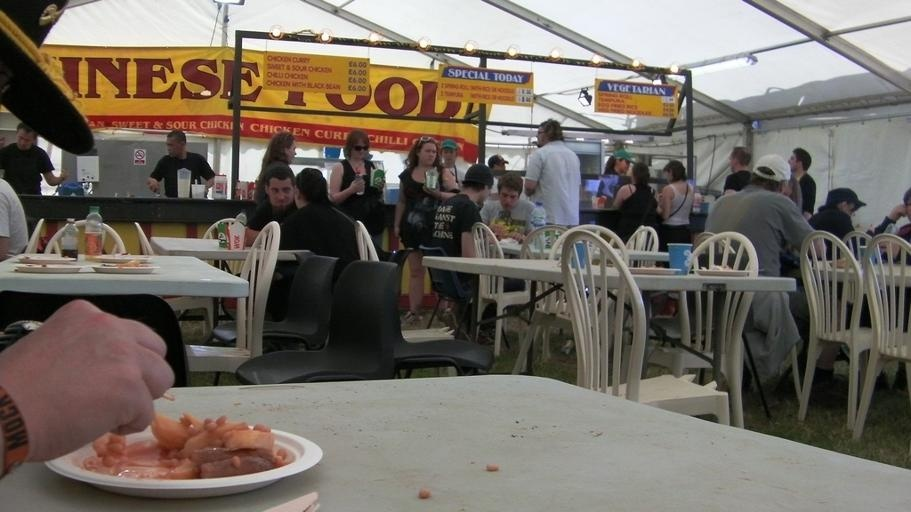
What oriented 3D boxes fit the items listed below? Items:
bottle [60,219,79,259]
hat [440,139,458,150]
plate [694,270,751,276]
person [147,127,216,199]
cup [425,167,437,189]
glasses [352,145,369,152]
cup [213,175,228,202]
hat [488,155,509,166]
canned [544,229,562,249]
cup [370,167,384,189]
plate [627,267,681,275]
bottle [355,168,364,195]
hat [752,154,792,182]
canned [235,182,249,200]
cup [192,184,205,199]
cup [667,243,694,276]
[{"bbox_3d":[-2.513,-0.116,4.923,0.084,0.243,0.385,-1,3,-26],"label":"bottle"},{"bbox_3d":[-0.081,-1.313,8.922,0.143,0.138,0.378,1,2,7],"label":"hat"},{"bbox_3d":[1.752,0.112,4.967,0.311,0.035,0.107,1,2,19],"label":"plate"},{"bbox_3d":[-3.290,-1.100,9.116,0.787,0.810,0.813,-2,3,-41],"label":"person"},{"bbox_3d":[-0.255,-0.792,7.819,0.125,0.211,0.210,0,2,-5],"label":"cup"},{"bbox_3d":[-1.011,-1.158,8.078,0.163,0.070,0.048,-1,3,-40],"label":"glasses"},{"bbox_3d":[-2.713,-0.795,8.703,0.148,0.275,0.276,0,2,-16],"label":"cup"},{"bbox_3d":[0.568,-1.305,10.320,0.169,0.174,0.408,1,2,9],"label":"hat"},{"bbox_3d":[0.866,-0.161,6.908,0.185,0.129,0.141,3,3,44],"label":"canned"},{"bbox_3d":[-0.831,-0.820,7.995,0.111,0.199,0.140,-14,43,-28],"label":"cup"},{"bbox_3d":[1.302,0.103,4.906,0.411,0.037,0.096,-1,2,-34],"label":"plate"},{"bbox_3d":[-0.994,-0.794,7.910,0.055,0.220,0.123,2,-4,-15],"label":"bottle"},{"bbox_3d":[2.726,-0.744,6.471,0.264,0.160,0.359,5,2,29],"label":"hat"},{"bbox_3d":[-2.516,-0.782,8.923,0.137,0.190,0.217,0,2,-17],"label":"canned"},{"bbox_3d":[-2.890,-0.728,8.546,0.163,0.121,0.161,1,-6,0],"label":"cup"},{"bbox_3d":[1.519,0.018,5.124,0.132,0.199,0.329,1,2,14],"label":"cup"}]
